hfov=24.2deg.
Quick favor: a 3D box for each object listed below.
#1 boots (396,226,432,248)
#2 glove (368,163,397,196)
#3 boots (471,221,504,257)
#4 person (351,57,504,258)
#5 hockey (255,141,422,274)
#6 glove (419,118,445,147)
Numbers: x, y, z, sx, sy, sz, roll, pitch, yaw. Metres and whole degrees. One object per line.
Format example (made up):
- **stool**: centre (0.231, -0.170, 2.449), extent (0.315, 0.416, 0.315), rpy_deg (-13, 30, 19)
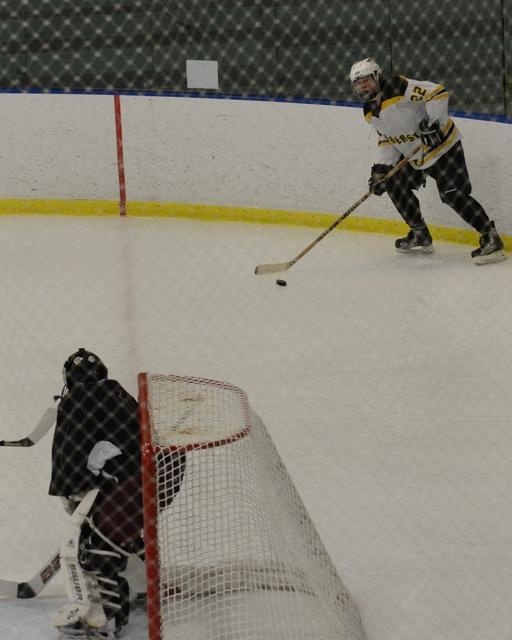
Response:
- **boots**: centre (0.794, -0.405, 5.992), extent (0.154, 0.101, 0.090), rpy_deg (6, 20, 17)
- **glove**: centre (0.617, -0.653, 5.763), extent (0.058, 0.151, 0.115), rpy_deg (25, 14, -10)
- **boots**: centre (1.086, -0.369, 5.664), extent (0.152, 0.162, 0.130), rpy_deg (-16, -6, 7)
- **person**: centre (0.883, -0.812, 5.903), extent (0.556, 1.024, 0.561), rpy_deg (-26, 31, -7)
- **hockey**: centre (0.462, -0.584, 6.225), extent (1.135, 0.050, 0.118), rpy_deg (-39, -1, 0)
- **glove**: centre (0.824, -0.873, 5.557), extent (0.094, 0.127, 0.132), rpy_deg (-24, 12, 18)
